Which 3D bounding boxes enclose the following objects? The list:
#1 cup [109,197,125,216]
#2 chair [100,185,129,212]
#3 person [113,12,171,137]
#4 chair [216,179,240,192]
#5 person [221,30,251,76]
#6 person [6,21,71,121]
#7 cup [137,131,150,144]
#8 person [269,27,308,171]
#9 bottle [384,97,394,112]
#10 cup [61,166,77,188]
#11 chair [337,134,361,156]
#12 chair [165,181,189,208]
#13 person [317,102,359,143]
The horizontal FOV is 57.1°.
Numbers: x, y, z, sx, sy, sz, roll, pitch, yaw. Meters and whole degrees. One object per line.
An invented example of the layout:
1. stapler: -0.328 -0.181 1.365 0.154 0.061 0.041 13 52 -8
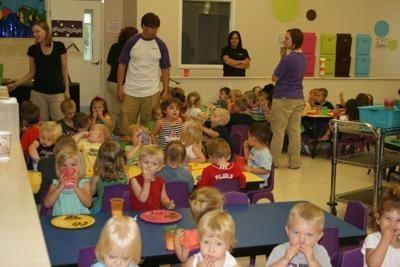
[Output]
1. cup: -0.589 0.522 2.664 0.107 0.109 0.106 1 5 0
2. chair: -0.695 0.529 3.051 0.195 0.250 0.227 0 6 -12
3. person: -0.864 -0.669 5.489 0.767 2.314 0.438 4 32 -9
4. chair: 0.258 0.473 3.421 0.135 0.186 0.147 -1 4 -18
5. person: 0.729 -1.641 7.624 0.563 0.918 0.456 1 9 0
6. person: -2.146 -0.838 5.124 0.694 1.343 0.512 -6 12 -35
7. cup: -0.635 0.048 4.135 0.121 0.136 0.203 0 10 -7
8. person: 1.377 -0.488 5.726 0.583 2.178 0.394 1 9 -5
9. bottle: 2.033 -0.314 3.939 0.091 0.111 0.142 6 10 25
10. cup: -0.981 0.336 2.744 0.095 0.143 0.137 -2 10 -21
11. chair: 2.513 0.178 6.210 0.295 0.535 0.351 -1 15 1
12. chair: -0.199 0.517 3.258 0.197 0.330 0.224 -2 9 -13
13. person: 2.405 -0.218 6.585 0.729 1.030 0.782 6 11 21
